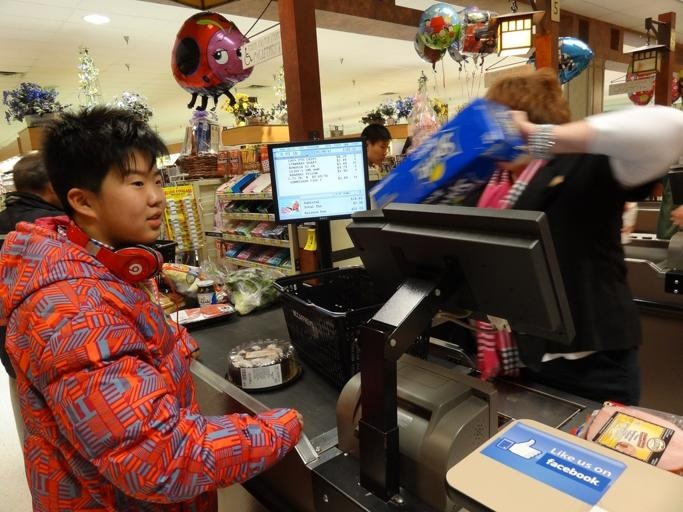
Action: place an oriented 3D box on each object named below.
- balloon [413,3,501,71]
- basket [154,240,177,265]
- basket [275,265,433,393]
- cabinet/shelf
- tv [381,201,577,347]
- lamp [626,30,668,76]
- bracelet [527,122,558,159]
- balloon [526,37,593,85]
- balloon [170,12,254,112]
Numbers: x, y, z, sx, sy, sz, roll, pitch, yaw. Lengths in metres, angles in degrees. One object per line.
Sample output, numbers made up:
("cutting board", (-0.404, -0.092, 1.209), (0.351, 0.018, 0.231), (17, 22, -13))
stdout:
("balloon", (1.074, -2.052, 4.324), (0.790, 0.752, 0.302), (-1, 58, 1))
("basket", (-1.007, -0.024, 2.629), (0.130, 0.116, 0.152), (-6, 15, -27))
("basket", (-0.007, 0.219, 1.688), (0.369, 0.244, 0.523), (-13, 11, -28))
("cabinet/shelf", (-0.696, -0.192, 4.002), (0.265, 0.647, 0.719), (-14, 21, -35))
("tv", (0.301, 0.024, 1.016), (0.484, 0.338, 0.062), (15, 52, 42))
("lamp", (3.651, -2.401, 5.587), (0.495, 0.385, 0.420), (-4, 21, 12))
("bracelet", (0.503, -0.284, 1.158), (0.068, 0.083, 0.087), (-2, 7, 12))
("balloon", (2.136, -1.963, 4.562), (0.718, 0.235, 0.520), (3, 12, 28))
("balloon", (-0.887, -1.381, 3.318), (0.709, 0.625, 0.511), (14, 22, 39))
